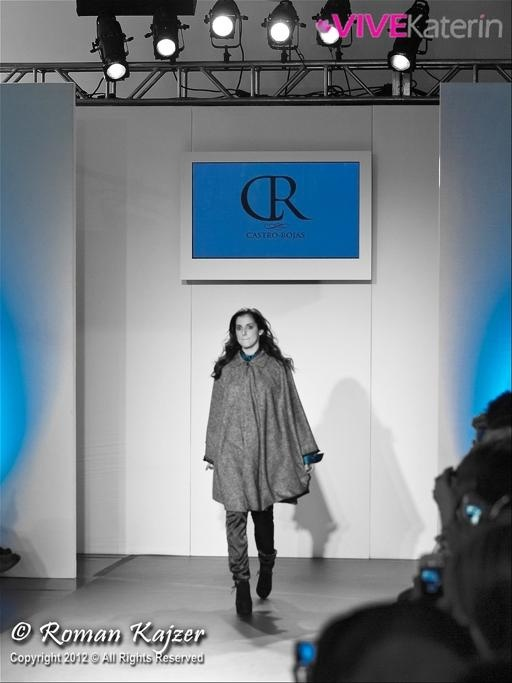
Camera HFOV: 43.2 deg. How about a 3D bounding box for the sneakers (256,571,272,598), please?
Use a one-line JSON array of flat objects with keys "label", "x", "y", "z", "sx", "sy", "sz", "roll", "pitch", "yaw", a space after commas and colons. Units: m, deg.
[{"label": "sneakers", "x": 0.038, "y": 1.226, "z": 3.281, "sx": 0.058, "sy": 0.121, "sz": 0.167, "roll": 0, "pitch": 5, "yaw": 3}]
